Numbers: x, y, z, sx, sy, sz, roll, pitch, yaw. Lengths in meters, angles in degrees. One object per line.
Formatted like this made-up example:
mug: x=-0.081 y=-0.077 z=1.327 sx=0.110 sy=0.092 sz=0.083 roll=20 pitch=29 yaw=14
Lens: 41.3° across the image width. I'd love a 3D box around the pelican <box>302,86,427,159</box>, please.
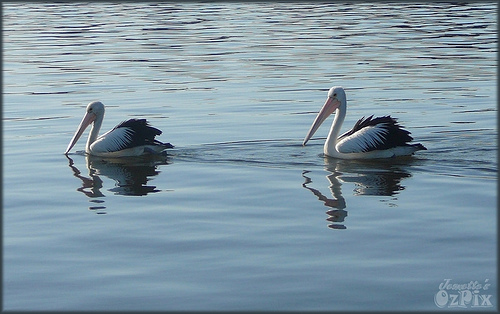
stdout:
pelican: x=3.166 y=-0.936 z=18.176 sx=1.263 sy=1.987 sz=2.623 roll=-6 pitch=11 yaw=-45
